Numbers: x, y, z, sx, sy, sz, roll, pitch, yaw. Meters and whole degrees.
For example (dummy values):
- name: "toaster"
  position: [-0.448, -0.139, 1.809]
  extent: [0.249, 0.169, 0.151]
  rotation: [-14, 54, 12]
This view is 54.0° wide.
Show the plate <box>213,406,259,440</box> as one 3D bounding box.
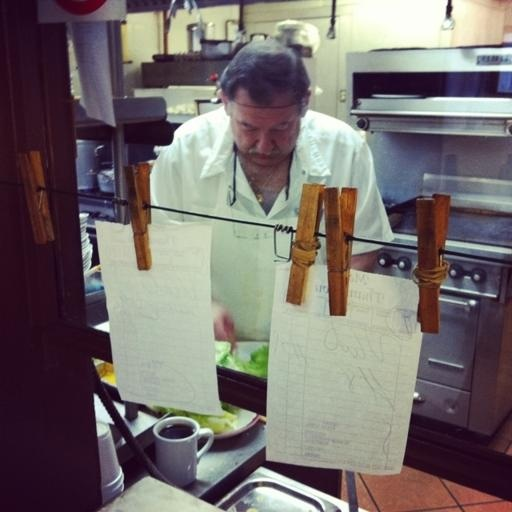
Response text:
- name: "plate"
  position: [-0.038, 0.369, 1.093]
  extent: [0.055, 0.032, 0.118]
  rotation: [13, 21, 32]

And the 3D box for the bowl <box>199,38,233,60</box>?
- name: "bowl"
  position: [-0.085, -0.436, 1.054]
  extent: [0.062, 0.039, 0.046]
  rotation: [1, 5, -3]

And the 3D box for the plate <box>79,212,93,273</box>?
- name: "plate"
  position: [-0.307, -0.017, 0.909]
  extent: [0.015, 0.126, 0.166]
  rotation: [-4, 18, -18]

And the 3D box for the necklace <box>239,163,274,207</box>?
- name: "necklace"
  position: [0.008, -0.186, 1.238]
  extent: [0.064, 0.118, 0.027]
  rotation: [-24, 8, 10]

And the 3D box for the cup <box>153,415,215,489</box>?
- name: "cup"
  position: [-0.150, 0.371, 0.966]
  extent: [0.120, 0.126, 0.084]
  rotation: [-3, 10, -27]
